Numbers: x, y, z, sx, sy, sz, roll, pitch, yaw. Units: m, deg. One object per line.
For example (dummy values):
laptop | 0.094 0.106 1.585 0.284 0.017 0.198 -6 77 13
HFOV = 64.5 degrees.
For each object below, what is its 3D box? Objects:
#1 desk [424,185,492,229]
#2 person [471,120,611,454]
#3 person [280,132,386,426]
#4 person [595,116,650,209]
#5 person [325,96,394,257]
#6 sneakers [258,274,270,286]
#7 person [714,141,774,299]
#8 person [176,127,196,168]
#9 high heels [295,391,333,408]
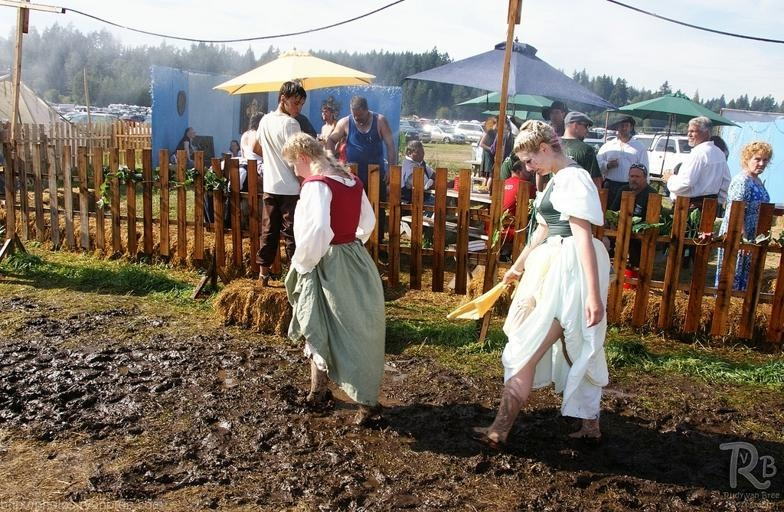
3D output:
desk | 1.250 -0.894 10.296 0.794 0.733 1.383 0 3 12
person | 1.380 0.263 5.225 0.938 2.732 0.663 5 10 19
person | -0.506 0.203 5.553 0.901 2.522 0.608 1 10 -8
person | 3.763 -1.285 10.281 0.767 2.042 0.585 6 27 22
person | -0.446 -1.245 9.373 0.903 2.181 1.002 -5 8 -1
sneakers | -1.537 0.289 7.591 0.117 0.177 0.115 4 -1 18
person | 4.223 -0.496 7.471 0.474 1.758 1.294 8 12 30
person | -5.427 -2.919 16.475 0.444 0.967 1.972 -1 12 -18
high heels | -0.700 1.335 5.803 0.210 0.095 0.174 -9 -7 16
